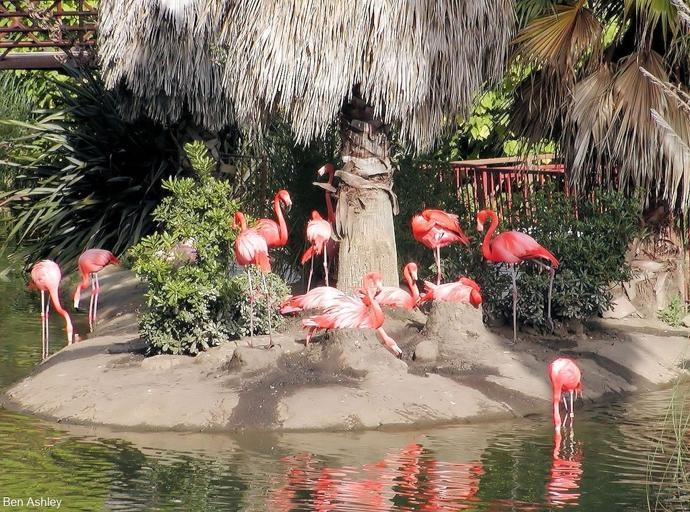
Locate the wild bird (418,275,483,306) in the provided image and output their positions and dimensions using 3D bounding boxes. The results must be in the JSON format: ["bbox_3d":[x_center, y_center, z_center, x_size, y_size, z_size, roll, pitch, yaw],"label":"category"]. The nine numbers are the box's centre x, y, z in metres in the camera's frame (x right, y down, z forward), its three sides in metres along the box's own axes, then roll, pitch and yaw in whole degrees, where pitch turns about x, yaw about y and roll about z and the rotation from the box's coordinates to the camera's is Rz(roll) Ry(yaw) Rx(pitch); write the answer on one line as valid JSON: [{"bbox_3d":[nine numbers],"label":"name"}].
[{"bbox_3d":[1.317,0.421,10.477,0.501,0.265,0.400,2,0,-10],"label":"wild bird"}]

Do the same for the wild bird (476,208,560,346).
[{"bbox_3d":[2.206,0.200,11.119,0.939,1.574,1.544,0,14,0],"label":"wild bird"}]

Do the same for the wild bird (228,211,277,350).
[{"bbox_3d":[-1.097,0.255,10.241,0.452,1.492,1.322,-2,14,-8],"label":"wild bird"}]

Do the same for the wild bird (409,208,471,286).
[{"bbox_3d":[1.222,-0.293,11.779,0.967,1.305,0.596,0,-2,13],"label":"wild bird"}]

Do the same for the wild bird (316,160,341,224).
[{"bbox_3d":[-0.246,-0.925,12.287,0.310,1.067,0.284,14,38,11],"label":"wild bird"}]

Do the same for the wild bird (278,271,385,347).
[{"bbox_3d":[-0.165,0.626,10.096,1.167,1.121,0.667,6,-5,-3],"label":"wild bird"}]
